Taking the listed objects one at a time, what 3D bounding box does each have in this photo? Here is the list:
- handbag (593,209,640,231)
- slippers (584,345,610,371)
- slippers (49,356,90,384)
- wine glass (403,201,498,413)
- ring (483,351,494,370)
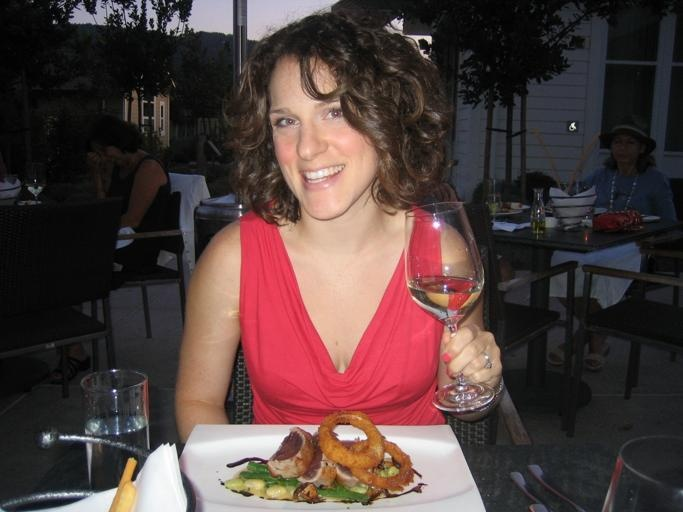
[{"bbox_3d":[1.787,-0.234,3.639,0.206,0.101,0.177,0,9,-1],"label":"handbag"},{"bbox_3d":[1.956,0.772,4.310,0.110,0.091,0.320,1,17,31],"label":"slippers"},{"bbox_3d":[-1.885,0.755,3.861,0.136,0.135,0.434,1,-6,3],"label":"slippers"},{"bbox_3d":[0.300,0.125,1.486,0.218,0.538,0.238,5,9,40],"label":"wine glass"},{"bbox_3d":[0.390,0.270,1.489,0.030,0.045,0.016,0,8,36],"label":"ring"}]
